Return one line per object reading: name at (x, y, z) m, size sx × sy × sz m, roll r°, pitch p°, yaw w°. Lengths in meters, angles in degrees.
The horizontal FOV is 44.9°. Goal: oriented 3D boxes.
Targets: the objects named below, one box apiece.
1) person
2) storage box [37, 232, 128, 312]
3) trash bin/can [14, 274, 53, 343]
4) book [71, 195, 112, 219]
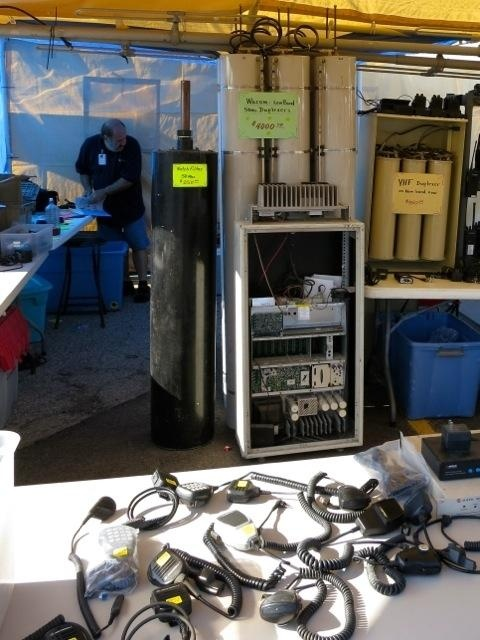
person at (-1.354, -1.149, 6.072) m, size 0.708 × 1.874 × 0.694 m, roll 16°, pitch 28°, yaw 34°
storage box at (-1.517, -0.433, 5.758) m, size 1.066 × 0.745 × 0.623 m, roll 1°, pitch 3°, yaw 6°
trash bin/can at (-1.512, -0.090, 4.436) m, size 0.381 × 0.413 × 0.498 m, roll -8°, pitch 17°, yaw -30°
book at (-1.336, -1.012, 5.263) m, size 0.424 × 0.146 × 0.322 m, roll 8°, pitch 7°, yaw 20°
